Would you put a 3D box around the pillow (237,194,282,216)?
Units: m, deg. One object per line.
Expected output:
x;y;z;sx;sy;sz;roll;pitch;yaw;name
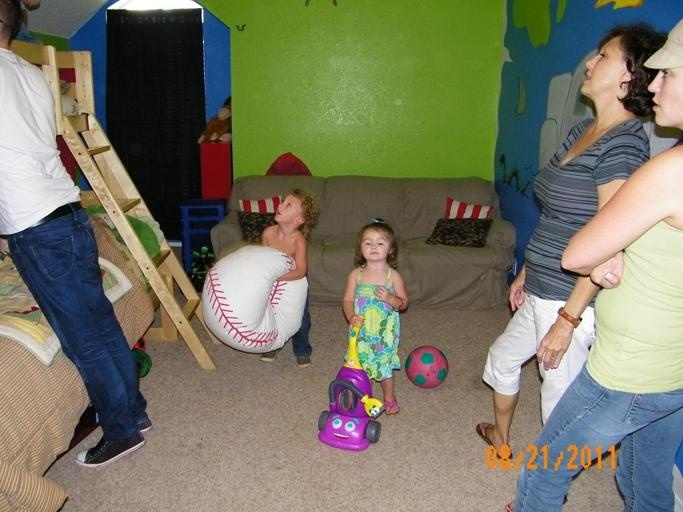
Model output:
-0.656;-0.406;4.600;0.279;0.086;0.199;-3;52;-3;pillow

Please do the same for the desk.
-1.150;-0.147;4.714;0.325;0.619;0.396;3;12;-12;desk

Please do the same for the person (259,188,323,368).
-0.318;0.116;3.423;0.370;1.027;0.394;3;15;-14;person

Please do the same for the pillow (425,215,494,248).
0.937;-0.192;4.441;0.348;0.086;0.288;4;46;28;pillow

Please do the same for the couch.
0.372;-0.235;4.626;2.505;1.086;0.981;1;17;1;couch

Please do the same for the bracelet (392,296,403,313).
0.288;0.253;2.929;0.037;0.069;0.052;6;10;35;bracelet

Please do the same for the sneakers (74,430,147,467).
-1.105;0.901;2.671;0.288;0.114;0.102;-11;25;-36;sneakers

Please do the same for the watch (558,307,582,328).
0.804;0.217;1.999;0.049;0.037;0.055;29;-2;-24;watch

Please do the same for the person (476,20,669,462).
0.838;0.023;2.208;0.453;1.665;0.678;5;13;9;person
